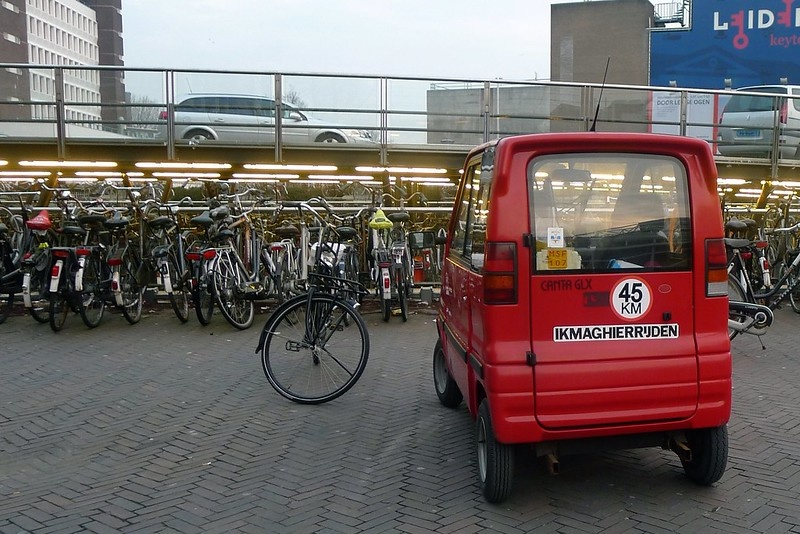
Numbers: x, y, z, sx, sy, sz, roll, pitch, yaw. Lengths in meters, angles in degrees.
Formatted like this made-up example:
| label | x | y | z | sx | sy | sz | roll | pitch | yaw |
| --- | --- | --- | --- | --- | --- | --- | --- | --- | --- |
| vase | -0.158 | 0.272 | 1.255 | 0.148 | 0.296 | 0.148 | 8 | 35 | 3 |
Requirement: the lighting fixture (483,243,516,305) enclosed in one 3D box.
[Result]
| label | x | y | z | sx | sy | sz | roll | pitch | yaw |
| --- | --- | --- | --- | --- | --- | --- | --- | --- | --- |
| lighting fixture | 0.846 | 0.052 | 6.021 | 0.266 | 0.522 | 0.082 | -1 | 8 | 7 |

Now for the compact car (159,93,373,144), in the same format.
| label | x | y | z | sx | sy | sz | roll | pitch | yaw |
| --- | --- | --- | --- | --- | --- | --- | --- | --- | --- |
| compact car | -2.708 | -2.920 | 14.364 | 3.286 | 1.057 | 1.510 | -2 | 7 | -7 |

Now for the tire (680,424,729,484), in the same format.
| label | x | y | z | sx | sy | sz | roll | pitch | yaw |
| --- | --- | --- | --- | --- | --- | --- | --- | --- | --- |
| tire | 2.673 | 1.629 | 6.314 | 0.220 | 0.647 | 0.575 | 1 | 5 | -3 |
